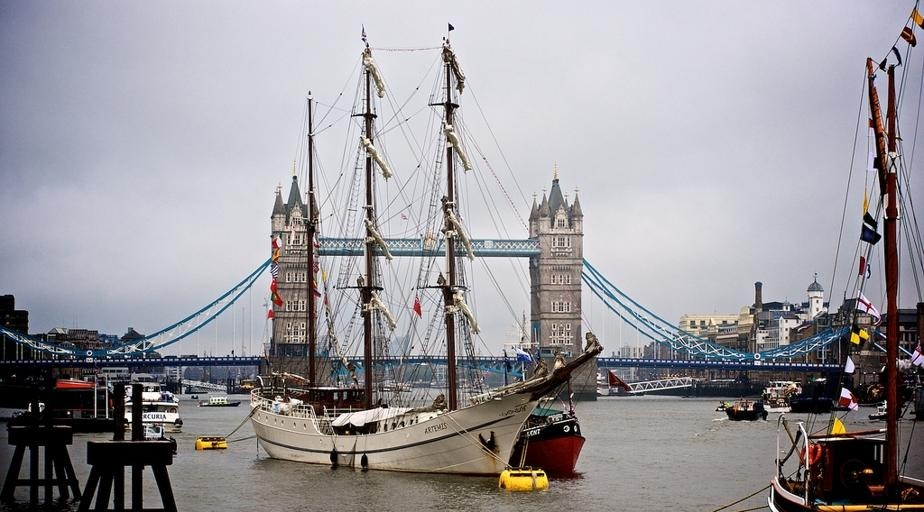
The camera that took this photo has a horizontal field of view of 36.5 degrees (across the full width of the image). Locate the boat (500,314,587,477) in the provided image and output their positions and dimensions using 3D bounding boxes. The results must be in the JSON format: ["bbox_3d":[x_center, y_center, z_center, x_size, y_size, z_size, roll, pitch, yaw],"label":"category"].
[{"bbox_3d":[6.114,14.084,107.111,3.069,6.195,15.500,1,-11,-6],"label":"boat"}]
